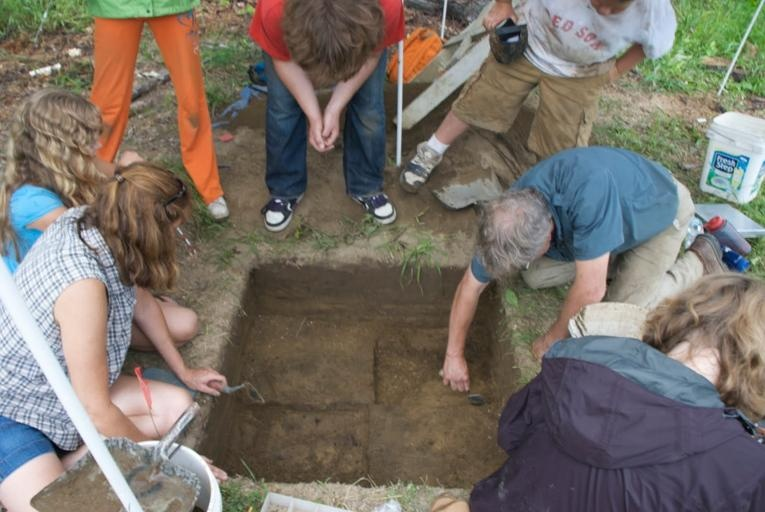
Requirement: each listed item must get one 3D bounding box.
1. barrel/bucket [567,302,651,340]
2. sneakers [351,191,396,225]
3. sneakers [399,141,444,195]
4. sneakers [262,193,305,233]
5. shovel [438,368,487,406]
[{"bbox_3d":[1.250,0.354,4.049,0.282,0.113,0.230,9,15,24],"label":"barrel/bucket"},{"bbox_3d":[-0.054,-0.353,5.111,0.141,0.134,0.332,-42,67,-12],"label":"sneakers"},{"bbox_3d":[0.266,-0.616,5.186,0.182,0.180,0.473,40,62,-13],"label":"sneakers"},{"bbox_3d":[-0.695,-0.296,5.008,0.137,0.119,0.308,14,55,10],"label":"sneakers"},{"bbox_3d":[0.589,0.844,4.692,0.210,0.069,0.233,-11,73,22],"label":"shovel"}]
